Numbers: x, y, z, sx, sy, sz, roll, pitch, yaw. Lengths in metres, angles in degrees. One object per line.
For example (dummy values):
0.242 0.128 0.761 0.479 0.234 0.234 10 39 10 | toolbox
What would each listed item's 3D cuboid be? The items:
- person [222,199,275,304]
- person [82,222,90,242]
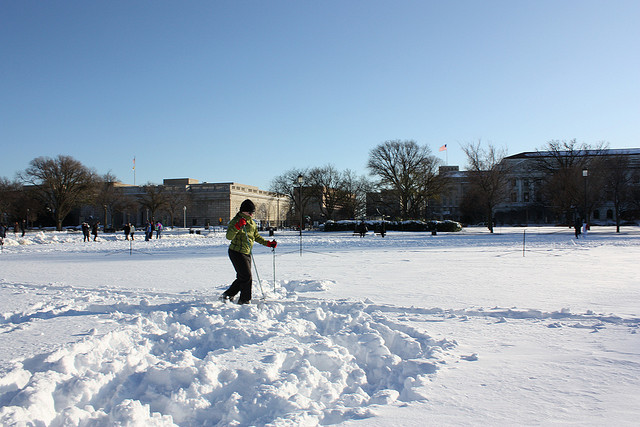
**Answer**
-1.450 0.712 11.114 0.838 1.944 1.234 0 -1 -6 | person
-15.785 1.242 38.393 0.294 1.206 2.531 0 -1 -24 | person
